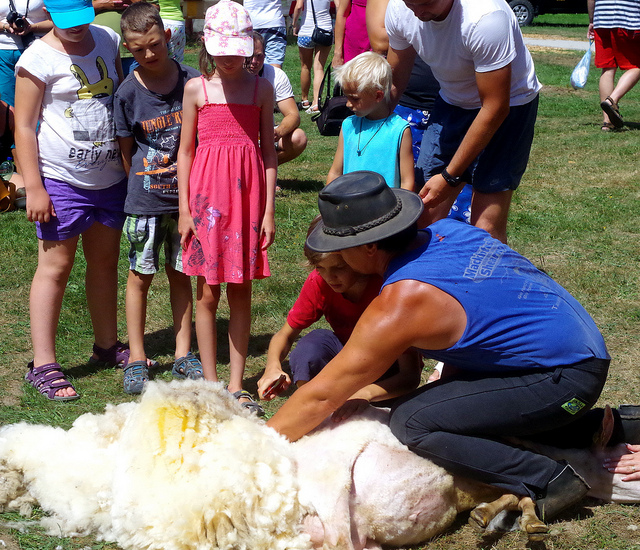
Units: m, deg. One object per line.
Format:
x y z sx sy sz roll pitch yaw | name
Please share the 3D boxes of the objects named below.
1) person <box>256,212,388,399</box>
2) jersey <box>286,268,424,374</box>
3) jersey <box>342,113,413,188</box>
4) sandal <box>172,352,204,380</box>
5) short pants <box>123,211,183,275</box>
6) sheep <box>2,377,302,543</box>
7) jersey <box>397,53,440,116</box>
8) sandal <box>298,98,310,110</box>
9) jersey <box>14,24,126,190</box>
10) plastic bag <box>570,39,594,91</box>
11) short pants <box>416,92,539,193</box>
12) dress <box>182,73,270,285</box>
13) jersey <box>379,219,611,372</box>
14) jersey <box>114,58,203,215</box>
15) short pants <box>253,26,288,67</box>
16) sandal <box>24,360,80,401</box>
-0.008 0.178 4.395 0.559 0.949 0.604 12 23 25 | person
0.125 0.113 4.733 0.685 0.524 0.561 -9 30 -40 | jersey
0.290 -0.750 5.403 0.434 0.394 0.213 13 23 25 | jersey
-0.721 0.524 5.236 0.114 0.138 0.302 5 -1 -41 | sandal
-0.915 -0.191 5.110 0.314 0.398 0.148 -5 12 -43 | short pants
-0.644 0.792 3.826 0.932 0.372 0.726 13 14 23 | sheep
0.676 -1.254 6.083 0.310 0.409 0.163 -2 10 -1 | jersey
-0.175 -2.250 12.030 0.112 0.138 0.319 -3 6 -35 | sandal
-1.314 -0.908 5.026 0.702 0.808 0.415 -16 32 -42 | jersey
3.156 -2.536 11.164 0.186 0.669 1.170 7 21 13 | plastic bag
0.830 -0.738 5.246 0.633 0.607 0.556 21 31 34 | short pants
-0.484 -0.567 4.930 0.364 1.126 0.485 10 12 44 | dress
0.754 0.210 4.051 0.854 0.307 0.613 20 43 -1 | jersey
-0.868 -0.748 5.125 0.551 0.794 0.285 -7 24 -25 | jersey
-0.477 -2.361 9.445 0.298 0.395 0.483 -1 21 -9 | short pants
-1.447 0.575 4.990 0.143 0.149 0.360 -10 23 -42 | sandal
